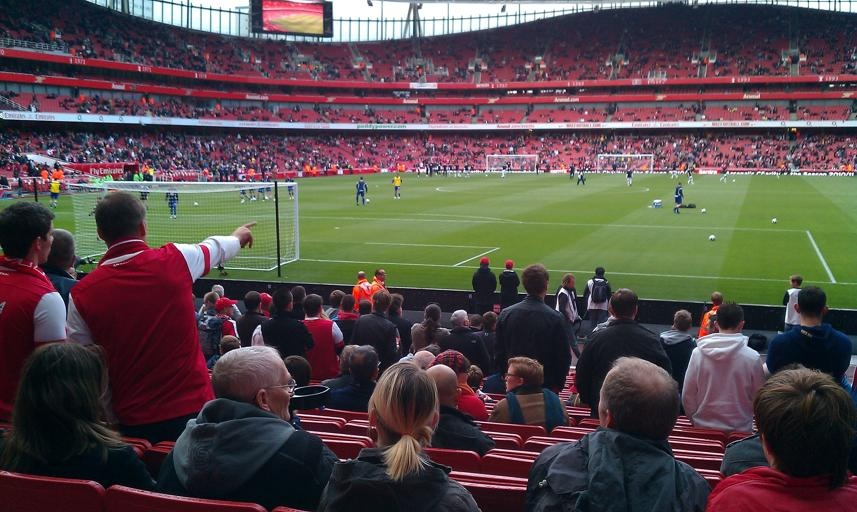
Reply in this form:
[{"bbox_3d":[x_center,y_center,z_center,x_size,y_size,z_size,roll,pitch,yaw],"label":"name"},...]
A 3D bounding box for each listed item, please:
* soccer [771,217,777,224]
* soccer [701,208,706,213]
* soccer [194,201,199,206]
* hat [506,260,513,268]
[{"bbox_3d":[25.827,-2.647,66.472,0.257,0.379,0.967,-23,11,24],"label":"soccer"},{"bbox_3d":[21.911,-3.626,70.678,0.357,0.247,0.429,0,13,15],"label":"soccer"},{"bbox_3d":[-19.050,-4.245,73.021,0.419,0.171,0.533,1,16,-3],"label":"soccer"},{"bbox_3d":[4.734,0.523,51.974,0.425,0.450,0.388,-5,1,-9],"label":"hat"}]
